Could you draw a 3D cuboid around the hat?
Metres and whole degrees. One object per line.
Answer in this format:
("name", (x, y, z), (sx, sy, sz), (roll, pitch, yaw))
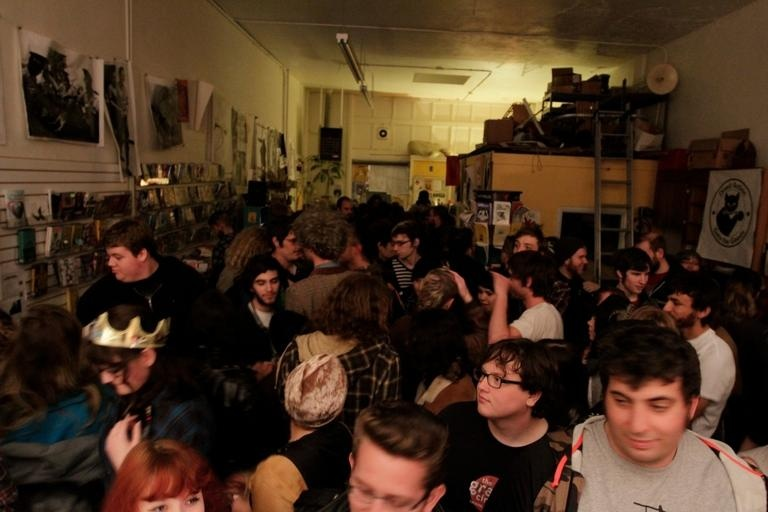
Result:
("hat", (-0.324, 0.653, 2.817), (0.253, 0.351, 0.295), (20, -6, -6))

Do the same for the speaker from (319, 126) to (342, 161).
("speaker", (-1.323, -2.727, 13.498), (0.686, 0.988, 0.507), (2, 14, -3))

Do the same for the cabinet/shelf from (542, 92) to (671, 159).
("cabinet/shelf", (3.219, -1.839, 7.826), (1.099, 0.778, 0.625), (0, 12, -7))

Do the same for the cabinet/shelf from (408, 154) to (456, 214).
("cabinet/shelf", (1.168, -1.782, 14.225), (1.299, 1.933, 1.335), (0, -1, -3))

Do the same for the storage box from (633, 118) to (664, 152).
("storage box", (3.727, -1.711, 7.797), (0.377, 0.465, 0.566), (3, 12, 28))

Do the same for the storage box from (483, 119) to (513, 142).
("storage box", (1.627, -1.766, 7.813), (0.424, 0.340, 0.668), (0, 11, 12))
